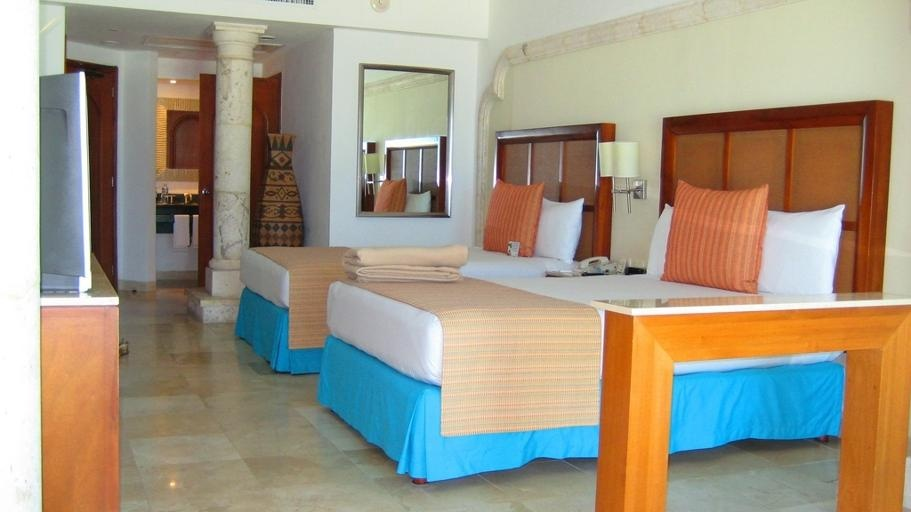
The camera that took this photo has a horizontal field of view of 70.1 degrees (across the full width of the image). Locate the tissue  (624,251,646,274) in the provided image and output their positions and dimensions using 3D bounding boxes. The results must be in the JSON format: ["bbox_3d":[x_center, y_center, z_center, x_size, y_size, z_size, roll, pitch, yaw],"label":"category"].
[{"bbox_3d":[1.762,0.069,6.305,0.206,0.145,0.192,1,2,-8],"label":"tissue "}]

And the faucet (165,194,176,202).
[{"bbox_3d":[-4.661,-0.943,10.636,0.144,0.122,0.082,4,-1,19],"label":"faucet"}]

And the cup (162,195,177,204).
[{"bbox_3d":[-4.669,-0.929,10.545,0.235,0.155,0.215,2,0,0],"label":"cup"}]

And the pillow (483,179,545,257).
[{"bbox_3d":[0.643,-0.410,7.111,0.372,0.742,0.928,-12,12,-24],"label":"pillow"}]

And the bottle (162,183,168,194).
[{"bbox_3d":[-4.769,-1.102,10.654,0.088,0.151,0.168,-2,11,-19],"label":"bottle"}]

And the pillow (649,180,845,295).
[{"bbox_3d":[2.320,-0.135,5.027,0.989,0.539,0.295,4,-5,44],"label":"pillow"}]

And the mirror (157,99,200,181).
[{"bbox_3d":[-4.620,-1.962,10.777,0.666,1.265,0.220,-3,12,-22],"label":"mirror"}]

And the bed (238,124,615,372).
[{"bbox_3d":[-0.157,-0.172,6.961,3.722,2.126,2.465,-1,4,-27],"label":"bed"}]

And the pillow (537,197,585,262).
[{"bbox_3d":[1.091,-0.247,6.645,0.387,0.674,0.647,12,-5,-13],"label":"pillow"}]

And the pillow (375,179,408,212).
[{"bbox_3d":[-0.806,-0.760,8.213,0.446,0.391,0.124,1,4,-19],"label":"pillow"}]

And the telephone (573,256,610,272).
[{"bbox_3d":[1.321,0.072,6.268,0.301,0.129,0.154,-12,8,-13],"label":"telephone"}]
